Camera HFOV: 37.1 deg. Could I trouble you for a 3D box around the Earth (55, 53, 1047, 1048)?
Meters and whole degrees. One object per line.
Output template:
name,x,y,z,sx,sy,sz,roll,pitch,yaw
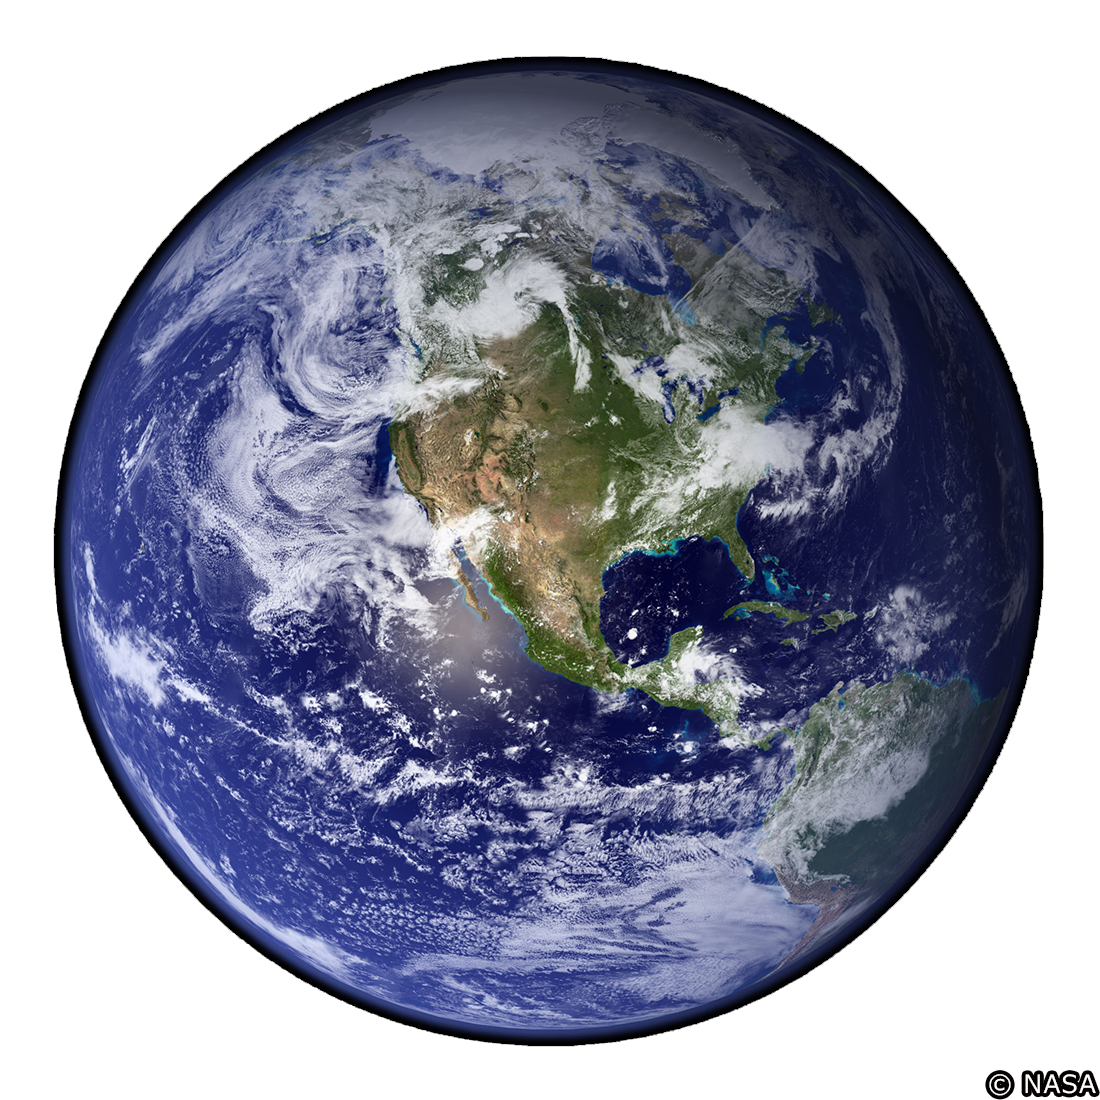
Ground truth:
Earth,-0.024,-0.006,5.569,3.244,0.983,3.176,-13,-79,3
